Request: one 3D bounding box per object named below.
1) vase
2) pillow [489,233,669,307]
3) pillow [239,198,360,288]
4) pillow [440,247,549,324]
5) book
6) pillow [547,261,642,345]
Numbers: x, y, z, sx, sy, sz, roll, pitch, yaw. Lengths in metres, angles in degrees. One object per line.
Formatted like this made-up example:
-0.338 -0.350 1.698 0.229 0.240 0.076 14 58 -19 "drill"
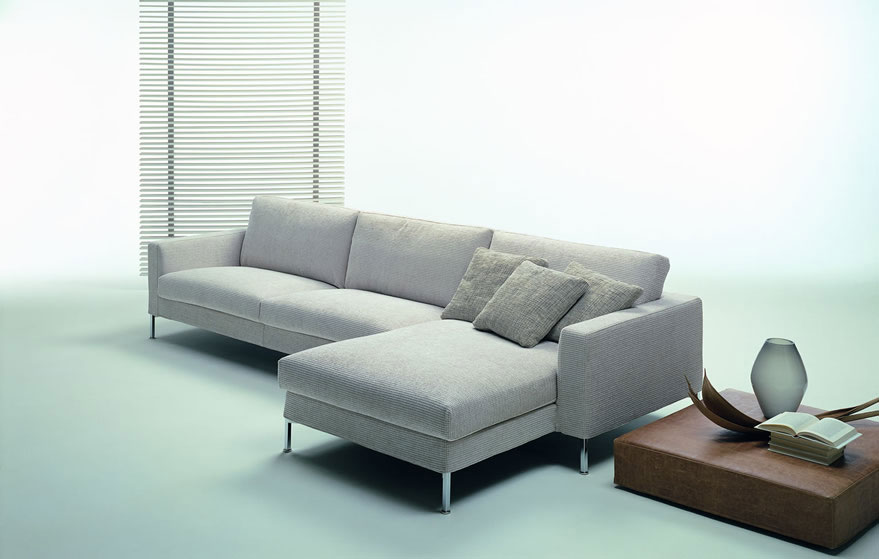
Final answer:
1.802 0.545 3.577 0.229 0.445 0.277 -7 23 -38 "vase"
0.870 -0.047 4.316 0.951 0.208 0.160 8 28 35 "pillow"
-1.105 -0.322 5.671 1.290 0.571 0.427 12 9 33 "pillow"
0.411 0.122 4.452 0.165 0.501 0.587 40 -14 -29 "pillow"
1.833 0.751 3.306 0.264 0.108 0.387 -16 20 -43 "book"
0.933 0.162 4.099 0.500 0.429 0.420 16 19 28 "pillow"
